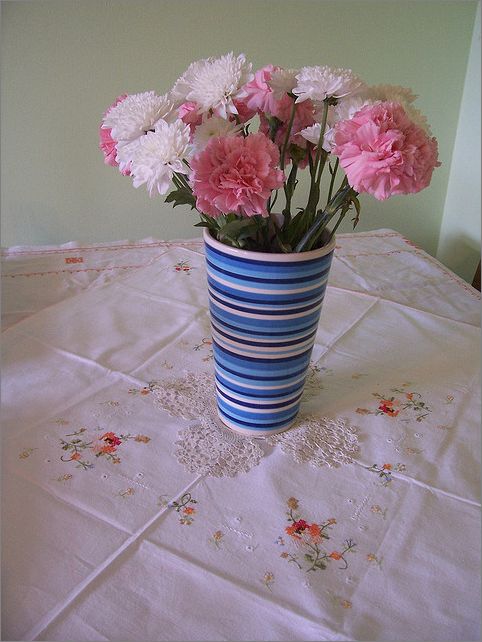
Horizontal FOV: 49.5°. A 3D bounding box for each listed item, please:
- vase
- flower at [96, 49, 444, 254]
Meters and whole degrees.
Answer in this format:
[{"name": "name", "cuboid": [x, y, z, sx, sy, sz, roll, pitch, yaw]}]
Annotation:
[{"name": "vase", "cuboid": [0.038, 0.016, 0.781, 0.194, 0.264, 0.179, 6, 16, 12]}, {"name": "flower", "cuboid": [0.025, -0.192, 0.649, 0.379, 0.248, 0.309, -4, 23, -14]}]
